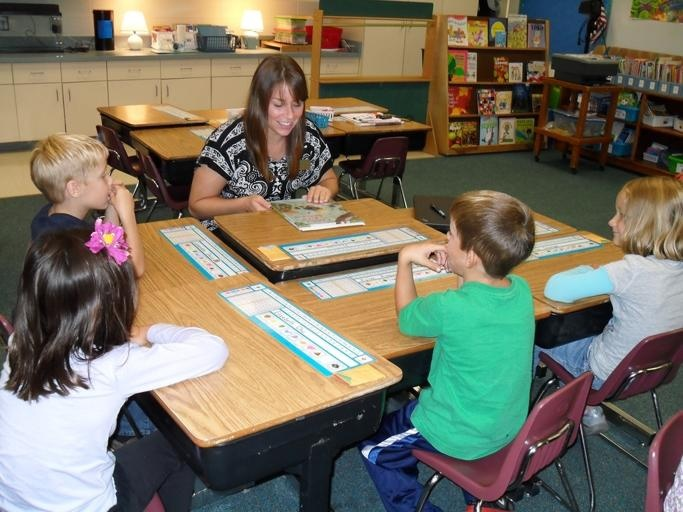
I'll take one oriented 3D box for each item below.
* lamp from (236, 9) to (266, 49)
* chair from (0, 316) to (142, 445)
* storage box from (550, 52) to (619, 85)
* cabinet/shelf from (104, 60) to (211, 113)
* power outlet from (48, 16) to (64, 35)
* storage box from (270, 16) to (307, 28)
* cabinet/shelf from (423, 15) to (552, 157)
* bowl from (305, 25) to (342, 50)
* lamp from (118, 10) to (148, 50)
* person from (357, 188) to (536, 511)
[{"bbox_3d":[-1.344,-3.358,7.034,0.307,0.430,0.319,19,20,28],"label":"lamp"},{"bbox_3d":[-0.637,0.286,1.101,0.256,0.343,0.209,-18,57,-29],"label":"chair"},{"bbox_3d":[3.169,-2.434,6.311,0.682,0.356,0.605,-17,33,-34],"label":"storage box"},{"bbox_3d":[-2.599,-2.496,6.602,1.356,0.829,0.684,-11,54,-28],"label":"cabinet/shelf"},{"bbox_3d":[-3.786,-3.057,6.227,0.192,0.241,0.063,-3,16,-28],"label":"power outlet"},{"bbox_3d":[-0.792,-3.524,7.079,0.354,0.126,0.378,-8,23,-27],"label":"storage box"},{"bbox_3d":[2.060,-2.507,6.907,2.560,2.182,0.624,-8,25,-19],"label":"cabinet/shelf"},{"bbox_3d":[-0.269,-3.366,7.242,0.594,0.350,0.330,-2,20,-5],"label":"bowl"},{"bbox_3d":[-2.792,-3.014,6.365,0.374,0.394,0.326,8,20,19],"label":"lamp"},{"bbox_3d":[0.378,0.436,1.656,0.524,1.323,0.435,8,23,22],"label":"person"}]
